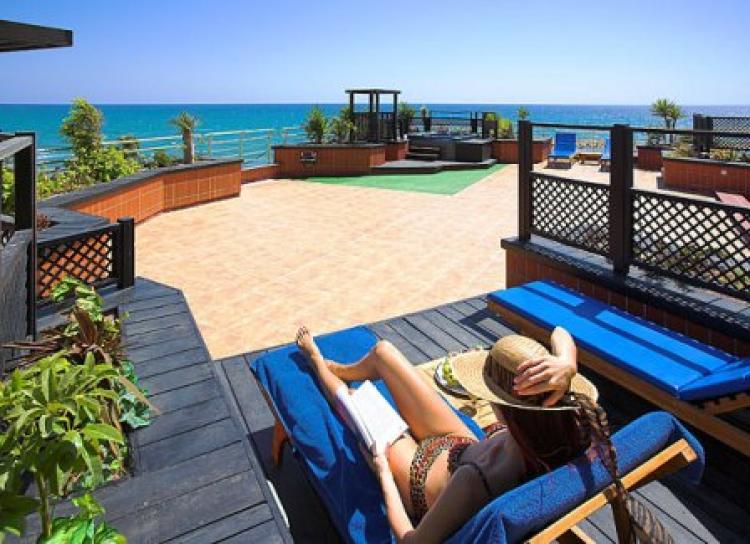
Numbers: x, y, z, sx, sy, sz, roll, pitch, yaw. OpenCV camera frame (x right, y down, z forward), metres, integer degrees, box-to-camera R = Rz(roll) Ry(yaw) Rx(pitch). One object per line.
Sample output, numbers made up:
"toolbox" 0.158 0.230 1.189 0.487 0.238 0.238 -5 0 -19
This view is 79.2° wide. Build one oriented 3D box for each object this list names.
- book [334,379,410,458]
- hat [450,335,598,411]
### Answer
"book" -0.029 0.757 2.399 0.241 0.097 0.328 -32 38 -9
"hat" 0.519 0.374 1.677 0.429 0.116 0.391 23 15 20
